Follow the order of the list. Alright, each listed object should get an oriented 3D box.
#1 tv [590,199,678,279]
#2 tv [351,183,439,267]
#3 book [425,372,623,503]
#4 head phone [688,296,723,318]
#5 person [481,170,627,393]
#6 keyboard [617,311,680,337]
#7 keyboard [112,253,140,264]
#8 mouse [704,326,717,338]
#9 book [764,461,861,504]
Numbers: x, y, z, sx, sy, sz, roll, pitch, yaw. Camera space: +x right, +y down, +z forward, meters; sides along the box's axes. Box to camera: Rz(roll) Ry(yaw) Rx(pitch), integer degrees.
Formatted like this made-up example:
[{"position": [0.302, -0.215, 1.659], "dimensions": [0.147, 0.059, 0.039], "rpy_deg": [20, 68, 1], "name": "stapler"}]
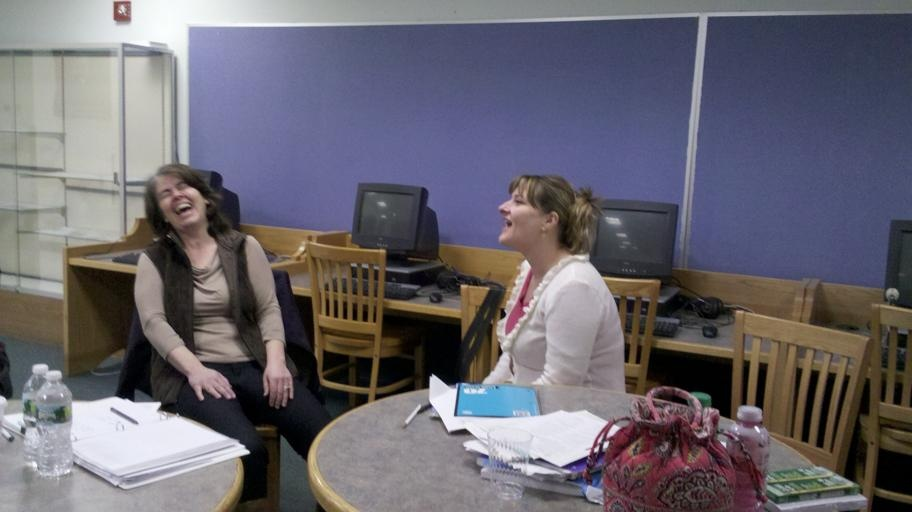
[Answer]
[{"position": [1.160, -0.101, 3.962], "dimensions": [0.517, 0.444, 0.274], "rpy_deg": [5, -6, 13], "name": "tv"}, {"position": [-0.384, -0.256, 4.731], "dimensions": [0.614, 0.586, 0.598], "rpy_deg": [4, 6, 17], "name": "tv"}, {"position": [0.314, 0.698, 2.399], "dimensions": [0.526, 0.156, 0.420], "rpy_deg": [-1, 10, -21], "name": "book"}, {"position": [1.655, 0.340, 4.013], "dimensions": [0.185, 0.067, 0.130], "rpy_deg": [3, 20, -7], "name": "head phone"}, {"position": [0.444, 0.179, 3.522], "dimensions": [0.966, 1.319, 1.243], "rpy_deg": [1, 1, 4], "name": "person"}, {"position": [1.196, 0.414, 3.670], "dimensions": [0.270, 0.068, 0.186], "rpy_deg": [5, 16, 19], "name": "keyboard"}, {"position": [-2.508, 0.021, 4.619], "dimensions": [0.165, 0.046, 0.159], "rpy_deg": [-1, 5, -26], "name": "keyboard"}, {"position": [1.534, 0.455, 3.656], "dimensions": [0.073, 0.065, 0.047], "rpy_deg": [6, -33, 17], "name": "mouse"}, {"position": [1.297, 0.841, 2.273], "dimensions": [0.353, 0.072, 0.165], "rpy_deg": [1, 9, -8], "name": "book"}]
